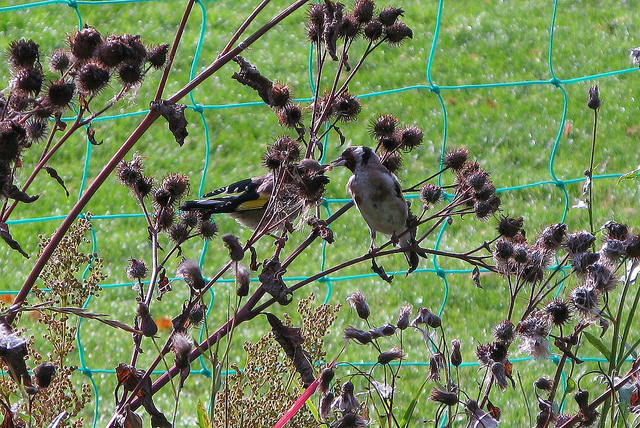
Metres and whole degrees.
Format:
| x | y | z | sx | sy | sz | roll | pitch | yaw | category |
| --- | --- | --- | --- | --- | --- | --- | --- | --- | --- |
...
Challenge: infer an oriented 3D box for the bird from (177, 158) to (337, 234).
| x | y | z | sx | sy | sz | roll | pitch | yaw | category |
| --- | --- | --- | --- | --- | --- | --- | --- | --- | --- |
| -0.414 | -0.151 | 9.774 | 0.932 | 0.617 | 0.295 | 0 | 12 | -16 | bird |

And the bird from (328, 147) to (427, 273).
| x | y | z | sx | sy | sz | roll | pitch | yaw | category |
| --- | --- | --- | --- | --- | --- | --- | --- | --- | --- |
| 0.313 | -0.109 | 9.464 | 0.576 | 0.535 | 0.294 | 15 | -31 | -19 | bird |
